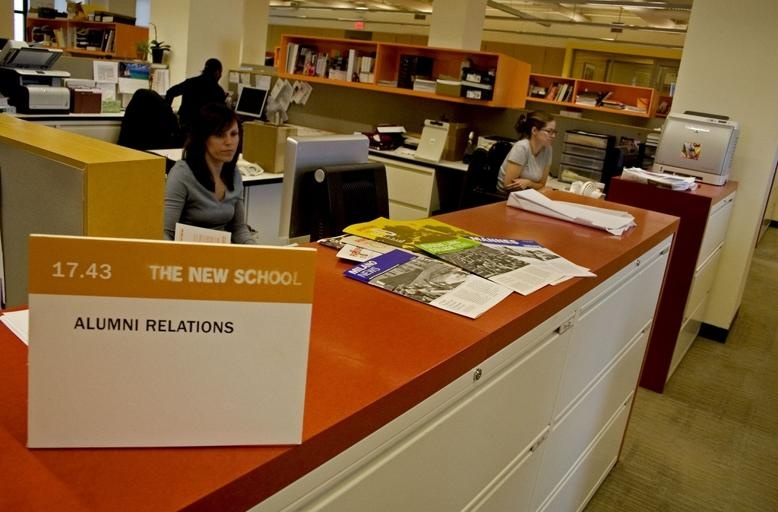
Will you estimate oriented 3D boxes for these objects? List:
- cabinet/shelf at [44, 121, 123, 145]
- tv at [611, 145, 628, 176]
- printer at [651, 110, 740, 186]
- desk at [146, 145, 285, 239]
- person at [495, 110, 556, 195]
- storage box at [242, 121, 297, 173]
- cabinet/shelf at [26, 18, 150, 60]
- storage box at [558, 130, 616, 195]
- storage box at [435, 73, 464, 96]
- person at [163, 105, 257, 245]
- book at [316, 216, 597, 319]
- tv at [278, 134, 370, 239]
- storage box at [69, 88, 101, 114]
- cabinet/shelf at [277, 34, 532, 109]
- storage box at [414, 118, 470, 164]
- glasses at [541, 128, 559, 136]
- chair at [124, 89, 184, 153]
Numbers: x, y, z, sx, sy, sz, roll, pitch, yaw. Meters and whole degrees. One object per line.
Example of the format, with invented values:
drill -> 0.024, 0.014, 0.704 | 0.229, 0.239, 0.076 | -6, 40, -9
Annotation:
cabinet/shelf -> -2.907, -1.201, 5.258 | 0.149, 0.196, 0.626 | 20, 23, 37
tv -> 2.251, -0.937, 5.382 | 0.174, 0.271, 0.058 | -7, 22, -35
printer -> 2.308, -0.798, 4.081 | 0.557, 0.548, 0.421 | 21, 5, 18
desk -> -0.971, -0.382, 3.121 | 0.569, 0.527, 0.419 | 26, 31, 33
person -> 1.289, -0.948, 5.070 | 0.475, 0.783, 0.467 | 8, 18, 4
storage box -> -1.038, -0.872, 4.402 | 0.252, 0.362, 0.436 | 0, 10, -24
cabinet/shelf -> -5.733, -4.247, 10.694 | 0.739, 0.536, 2.353 | 2, 17, 34
storage box -> 1.998, -0.960, 5.498 | 0.561, 0.537, 0.233 | 13, 19, 19
storage box -> 0.673, -1.975, 6.274 | 0.260, 0.171, 0.265 | 3, 17, 7
person -> -1.007, -0.447, 3.073 | 0.502, 0.795, 0.418 | -2, 20, -24
book -> 0.225, -0.006, 2.086 | 0.925, 0.084, 0.781 | -10, 24, -40
tv -> -0.292, -0.327, 2.521 | 0.178, 0.452, 0.457 | 16, 20, 28
storage box -> -2.992, -1.523, 5.367 | 0.249, 0.193, 0.244 | 16, 21, 35
cabinet/shelf -> 0.118, -2.397, 6.998 | 3.184, 0.641, 0.912 | 16, 21, 27
storage box -> 0.609, -1.287, 6.152 | 0.353, 0.442, 0.615 | 29, 27, 36
glasses -> 1.469, -1.143, 5.015 | 0.071, 0.077, 0.238 | 18, 21, 32
chair -> -2.367, -1.308, 5.229 | 0.283, 0.542, 0.381 | 13, 12, 9
